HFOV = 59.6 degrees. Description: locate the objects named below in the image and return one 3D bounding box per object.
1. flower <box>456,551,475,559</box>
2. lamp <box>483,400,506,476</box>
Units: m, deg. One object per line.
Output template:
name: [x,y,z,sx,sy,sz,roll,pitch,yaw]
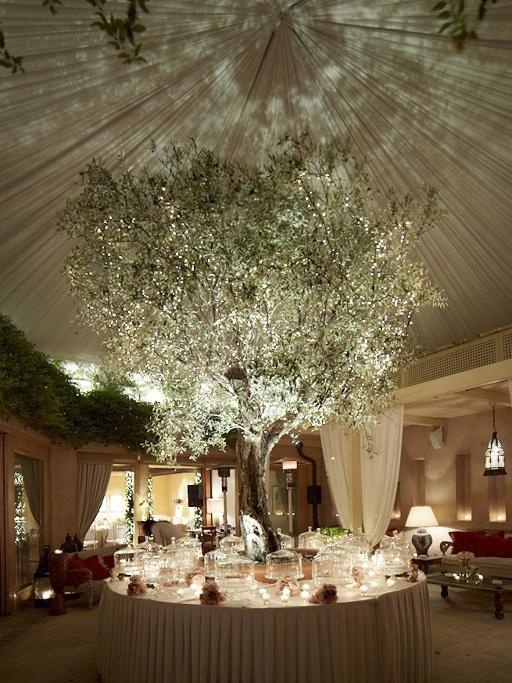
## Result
flower: [3.187,3.248,6.733,0.265,0.116,0.137,20,-28,-41]
lamp: [5.189,2.158,9.770,0.451,1.551,1.699,-10,-23,27]
